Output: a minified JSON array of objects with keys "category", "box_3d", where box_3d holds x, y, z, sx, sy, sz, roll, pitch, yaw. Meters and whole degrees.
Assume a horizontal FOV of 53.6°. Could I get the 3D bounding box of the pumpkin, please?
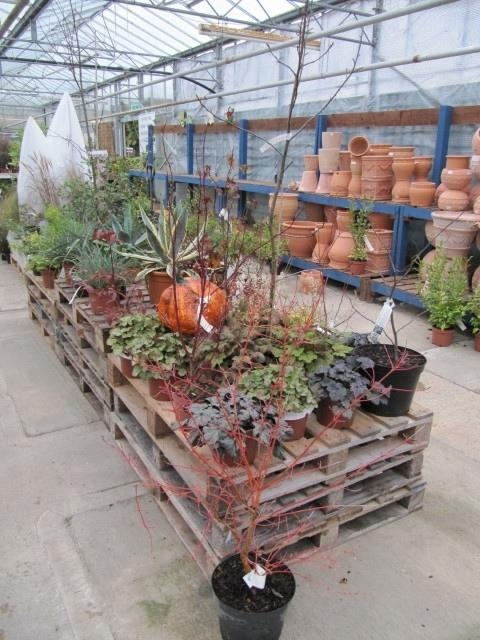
[{"category":"pumpkin","box_3d":[-0.155,-0.036,1.883,0.268,0.226,0.258,-6,17,-24]}]
